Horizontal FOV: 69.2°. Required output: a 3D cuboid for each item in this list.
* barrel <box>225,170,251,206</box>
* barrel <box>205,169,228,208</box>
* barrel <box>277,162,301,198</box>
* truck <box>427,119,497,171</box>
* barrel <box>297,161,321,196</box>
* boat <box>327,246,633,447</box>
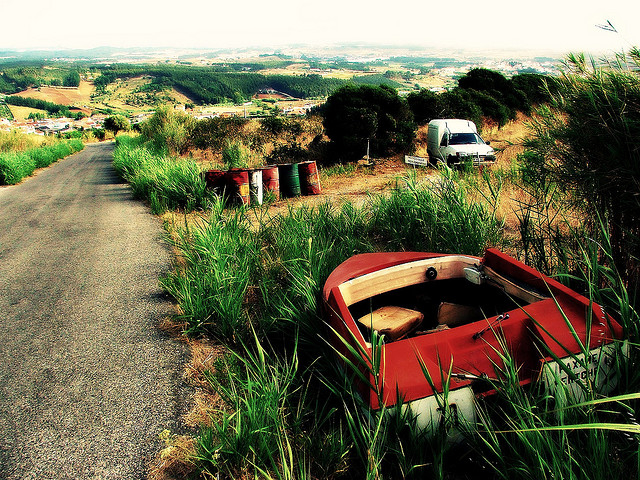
[{"bbox_3d":[-2.079,-1.345,11.821,0.604,1.016,0.634,0,18,0],"label":"barrel"},{"bbox_3d":[-2.596,-1.342,11.755,0.543,0.827,1.020,-15,19,-31],"label":"barrel"},{"bbox_3d":[-0.863,-1.659,12.901,0.731,0.920,0.814,3,12,15],"label":"barrel"},{"bbox_3d":[5.036,-3.529,17.095,1.430,1.979,3.503,-3,17,-8],"label":"truck"},{"bbox_3d":[-0.324,-1.822,13.399,0.577,0.960,0.610,-7,19,2],"label":"barrel"},{"bbox_3d":[1.283,0.813,4.372,2.215,1.173,2.405,-11,18,-19],"label":"boat"}]
